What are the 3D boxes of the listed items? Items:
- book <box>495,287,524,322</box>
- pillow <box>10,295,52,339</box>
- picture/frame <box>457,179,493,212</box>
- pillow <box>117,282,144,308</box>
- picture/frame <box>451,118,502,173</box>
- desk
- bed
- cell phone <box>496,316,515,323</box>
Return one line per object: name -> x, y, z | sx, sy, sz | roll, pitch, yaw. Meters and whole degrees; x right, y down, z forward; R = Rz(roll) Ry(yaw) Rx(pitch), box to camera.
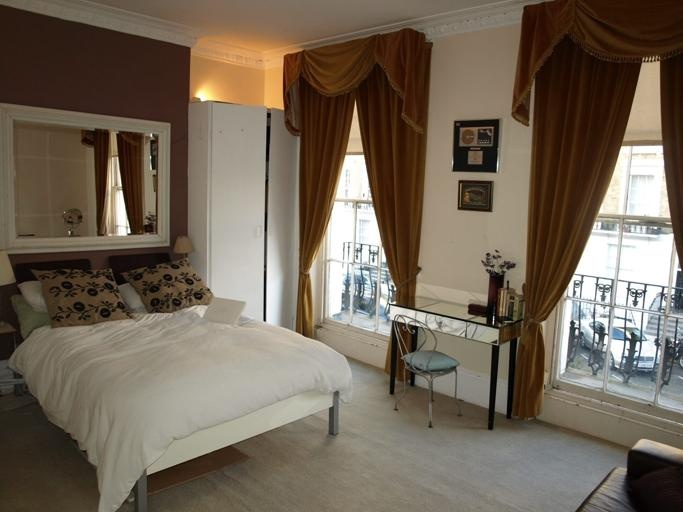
book -> 1.581, 0.410, 4.720 | 0.235, 0.363, 0.330 | 5, 5, 41
pillow -> -3.008, 0.552, 4.760 | 0.112, 0.405, 0.397 | -16, -20, -40
picture/frame -> 1.355, -0.606, 4.952 | 0.280, 0.281, 0.021 | 6, 9, 39
pillow -> -2.200, 0.430, 5.164 | 0.187, 0.087, 0.302 | -19, 53, -30
picture/frame -> 1.358, -1.098, 4.901 | 0.474, 0.576, 0.074 | 6, 8, 43
desk -> 1.157, 1.062, 4.839 | 0.387, 0.874, 1.014 | -4, 6, -36
bed -> -1.367, 1.124, 4.413 | 2.147, 0.865, 2.184 | -12, 20, -43
cell phone -> 1.500, 0.595, 4.542 | 0.151, 0.016, 0.168 | 8, 15, 22
